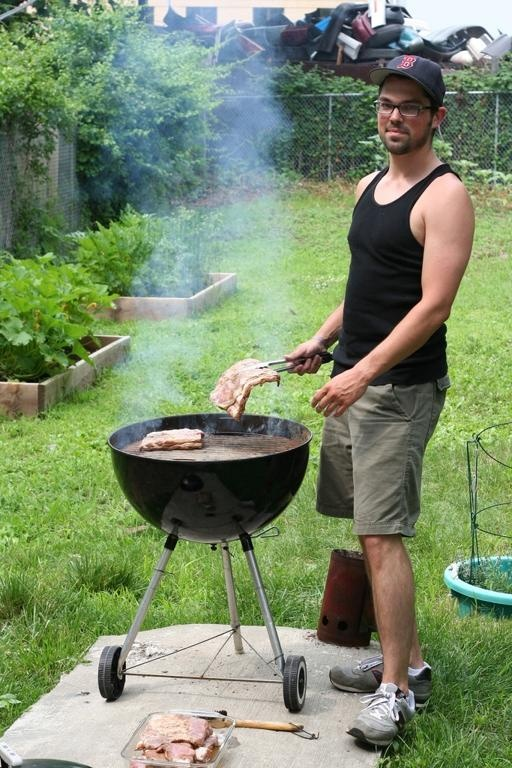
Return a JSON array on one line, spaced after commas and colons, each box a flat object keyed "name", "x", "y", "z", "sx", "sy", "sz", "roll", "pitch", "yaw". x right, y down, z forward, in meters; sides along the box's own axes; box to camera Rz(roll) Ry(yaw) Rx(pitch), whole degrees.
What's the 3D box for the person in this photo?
[{"name": "person", "x": 0.351, "y": 0.009, "z": 2.098, "sx": 0.522, "sy": 1.967, "sz": 0.702, "roll": 0, "pitch": 4, "yaw": 2}]
